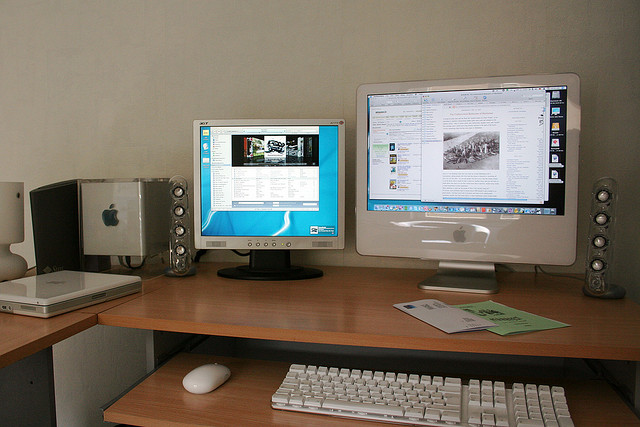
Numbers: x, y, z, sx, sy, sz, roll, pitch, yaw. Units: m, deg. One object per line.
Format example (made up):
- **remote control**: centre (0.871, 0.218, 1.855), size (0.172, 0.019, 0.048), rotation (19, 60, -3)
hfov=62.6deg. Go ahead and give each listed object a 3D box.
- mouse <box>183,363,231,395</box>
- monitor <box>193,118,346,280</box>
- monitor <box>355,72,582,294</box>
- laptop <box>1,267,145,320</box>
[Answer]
- **mouse**: centre (-0.381, 0.548, 1.777), size (0.145, 0.055, 0.185), rotation (1, 7, 14)
- **monitor**: centre (-0.205, -0.079, 2.097), size (0.733, 0.674, 0.275), rotation (1, 2, 3)
- **monitor**: centre (0.550, -0.123, 1.948), size (0.931, 0.790, 0.289), rotation (1, 3, 15)
- **laptop**: centre (-0.901, 0.277, 1.871), size (0.426, 0.096, 0.350), rotation (1, 6, 16)
